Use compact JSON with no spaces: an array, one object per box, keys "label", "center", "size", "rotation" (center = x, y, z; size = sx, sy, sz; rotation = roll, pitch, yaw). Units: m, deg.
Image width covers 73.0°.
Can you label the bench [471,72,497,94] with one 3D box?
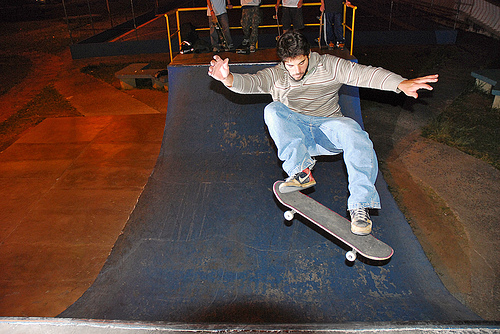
[{"label":"bench","center":[5.498,-1.971,7.884],"size":[0.604,0.401,0.342],"rotation":[20,45,25]}]

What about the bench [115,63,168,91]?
[{"label":"bench","center":[-3.037,-2.614,9.601],"size":[1.118,0.350,1.059],"rotation":[3,36,6]}]
